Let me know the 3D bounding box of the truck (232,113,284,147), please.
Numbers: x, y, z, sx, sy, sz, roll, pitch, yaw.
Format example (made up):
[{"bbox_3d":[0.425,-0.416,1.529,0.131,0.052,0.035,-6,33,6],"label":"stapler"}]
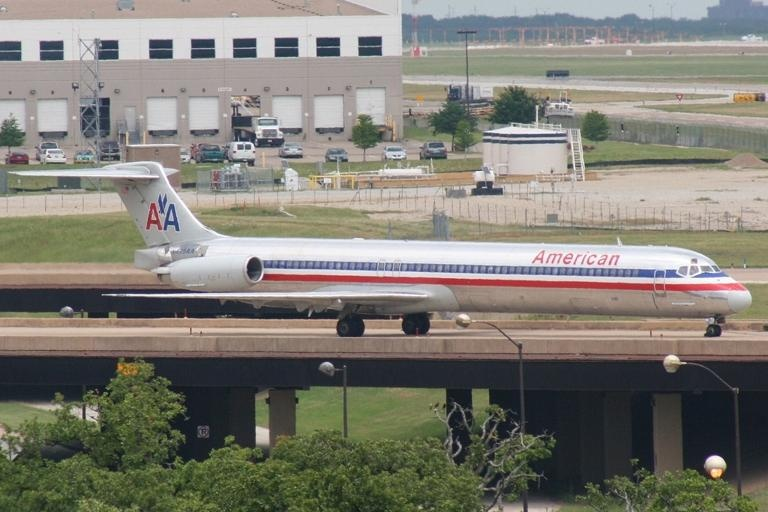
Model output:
[{"bbox_3d":[-16.577,-15.816,304.584,3.788,2.642,6.672,-2,3,-25],"label":"truck"}]

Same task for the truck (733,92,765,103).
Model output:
[{"bbox_3d":[55.410,-23.974,363.605,4.607,1.282,11.266,-1,8,9],"label":"truck"}]

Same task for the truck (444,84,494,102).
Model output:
[{"bbox_3d":[12.226,-23.077,340.848,5.418,1.958,3.677,1,4,4],"label":"truck"}]

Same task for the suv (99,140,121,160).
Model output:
[{"bbox_3d":[-34.396,-12.800,294.712,2.258,1.555,3.670,-1,7,-11],"label":"suv"}]

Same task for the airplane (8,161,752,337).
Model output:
[{"bbox_3d":[2.326,-0.501,220.877,54.755,17.111,4.154,-1,11,9],"label":"airplane"}]

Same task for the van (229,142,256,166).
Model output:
[{"bbox_3d":[-18.017,-12.652,292.689,2.382,1.604,3.809,-1,8,-11],"label":"van"}]
